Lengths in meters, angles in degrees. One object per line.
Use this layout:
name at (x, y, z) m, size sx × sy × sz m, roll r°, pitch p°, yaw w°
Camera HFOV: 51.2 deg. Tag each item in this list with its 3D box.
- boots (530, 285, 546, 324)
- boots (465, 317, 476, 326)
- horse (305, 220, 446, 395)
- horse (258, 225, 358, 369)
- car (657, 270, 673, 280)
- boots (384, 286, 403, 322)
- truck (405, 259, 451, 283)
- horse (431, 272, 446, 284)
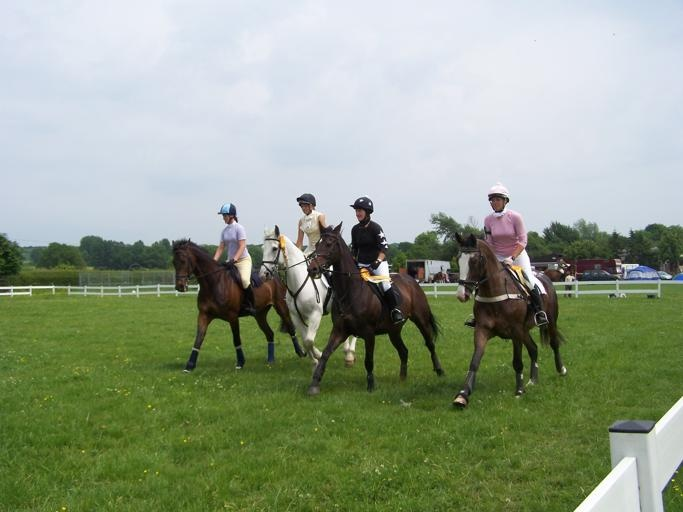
boots at (4.357, 1.147, 15.745) m, size 0.236 × 0.989 × 0.271 m, roll -9°, pitch -21°, yaw 13°
boots at (2.874, 1.469, 15.879) m, size 0.173 × 0.095 × 0.155 m, roll -1°, pitch 4°, yaw 20°
horse at (0.683, 1.181, 16.161) m, size 3.640 × 4.088 × 1.100 m, roll -12°, pitch 15°, yaw -42°
horse at (-0.547, 1.098, 18.169) m, size 1.011 × 3.632 × 4.319 m, roll -4°, pitch -4°, yaw 33°
car at (35.191, 2.086, 77.604) m, size 1.323 × 1.140 × 2.304 m, roll 2°, pitch 9°, yaw 37°
boots at (1.217, 1.145, 16.160) m, size 0.267 × 1.053 × 0.322 m, roll -16°, pitch -17°, yaw 17°
truck at (9.564, 1.522, 79.138) m, size 2.422 × 2.625 × 4.384 m, roll 1°, pitch 3°, yaw 38°
horse at (9.051, 2.073, 66.459) m, size 0.711 × 1.703 × 2.737 m, roll -2°, pitch -7°, yaw 19°
